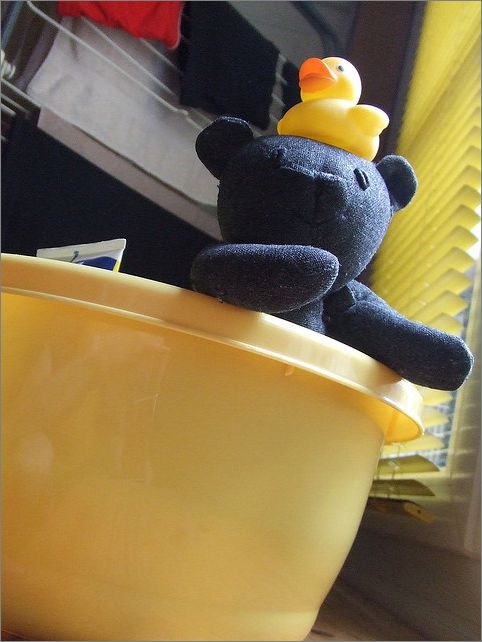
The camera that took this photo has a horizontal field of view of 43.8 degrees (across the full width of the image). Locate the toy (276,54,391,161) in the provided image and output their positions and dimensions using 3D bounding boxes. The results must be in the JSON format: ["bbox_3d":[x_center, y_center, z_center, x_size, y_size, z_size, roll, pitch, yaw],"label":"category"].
[{"bbox_3d":[0.107,-0.253,0.703,0.112,0.139,0.107,2,98,-44],"label":"toy"}]
